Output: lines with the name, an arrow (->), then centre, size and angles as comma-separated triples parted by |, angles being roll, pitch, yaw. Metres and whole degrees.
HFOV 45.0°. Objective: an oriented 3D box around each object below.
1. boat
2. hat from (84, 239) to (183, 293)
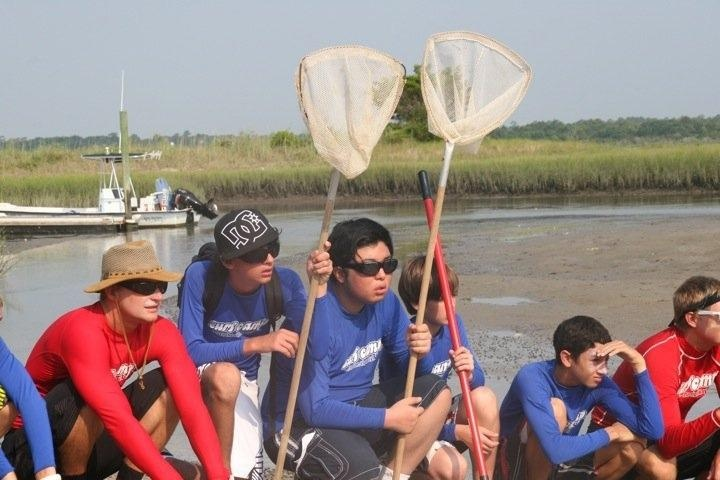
boat -> -7.060, -1.813, 25.241 | 5.570, 3.165, 6.428 | -2, 3, 23
hat -> -1.860, 0.218, 6.837 | 0.473, 0.242, 0.455 | -7, -4, 26
